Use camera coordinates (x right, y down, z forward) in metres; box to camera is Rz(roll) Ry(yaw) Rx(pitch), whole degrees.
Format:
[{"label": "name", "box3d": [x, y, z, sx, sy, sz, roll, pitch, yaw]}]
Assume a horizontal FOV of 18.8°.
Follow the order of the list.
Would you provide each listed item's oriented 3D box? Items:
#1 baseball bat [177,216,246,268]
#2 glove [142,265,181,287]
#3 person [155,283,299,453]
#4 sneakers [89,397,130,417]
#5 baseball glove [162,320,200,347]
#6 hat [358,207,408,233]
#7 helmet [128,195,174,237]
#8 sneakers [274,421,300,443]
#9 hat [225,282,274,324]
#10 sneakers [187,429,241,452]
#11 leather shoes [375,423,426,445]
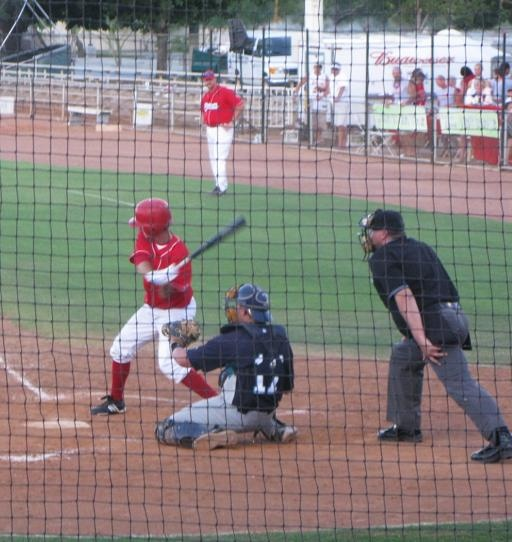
[{"label": "baseball bat", "box3d": [-0.547, -0.348, 19.714, 1.101, 0.133, 0.125, -40, 34, -22]}, {"label": "glove", "box3d": [-0.974, 0.031, 15.929, 0.280, 0.135, 0.200, -37, 36, -26]}, {"label": "person", "box3d": [-0.198, 1.000, 15.780, 1.570, 1.674, 1.102, -4, 9, -35]}, {"label": "sneakers", "box3d": [-1.519, 1.424, 16.096, 0.383, 0.202, 0.158, 3, 12, -11]}, {"label": "baseball glove", "box3d": [-0.750, 0.630, 15.583, 0.231, 0.147, 0.326, -1, -1, -45]}, {"label": "hat", "box3d": [1.281, -0.548, 15.637, 0.330, 0.309, 0.247, 19, 17, 35]}, {"label": "helmet", "box3d": [-1.100, -0.564, 16.084, 0.397, 0.318, 0.327, 13, -10, -11]}, {"label": "sneakers", "box3d": [0.314, 1.649, 15.691, 0.141, 0.228, 0.239, -24, 2, -1]}, {"label": "hat", "box3d": [-0.084, 0.310, 15.546, 0.473, 0.455, 0.373, 4, 14, 25]}, {"label": "sneakers", "box3d": [-0.399, 1.720, 15.529, 0.357, 0.142, 0.230, -6, 5, -25]}, {"label": "leather shoes", "box3d": [1.479, 1.684, 15.730, 0.507, 0.224, 0.176, 4, 4, 7]}]
